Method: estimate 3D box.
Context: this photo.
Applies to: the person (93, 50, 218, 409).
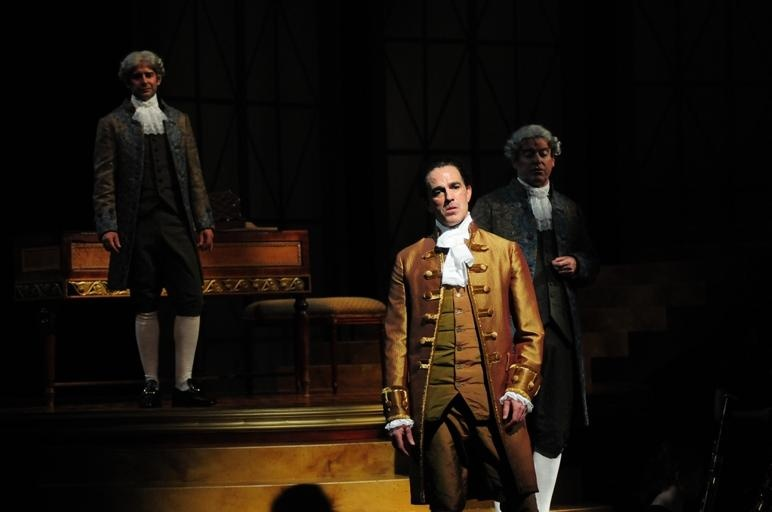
[{"bbox_3d":[-1.762,-0.199,6.548,0.881,2.723,0.294,-1,-4,-18],"label":"person"}]
